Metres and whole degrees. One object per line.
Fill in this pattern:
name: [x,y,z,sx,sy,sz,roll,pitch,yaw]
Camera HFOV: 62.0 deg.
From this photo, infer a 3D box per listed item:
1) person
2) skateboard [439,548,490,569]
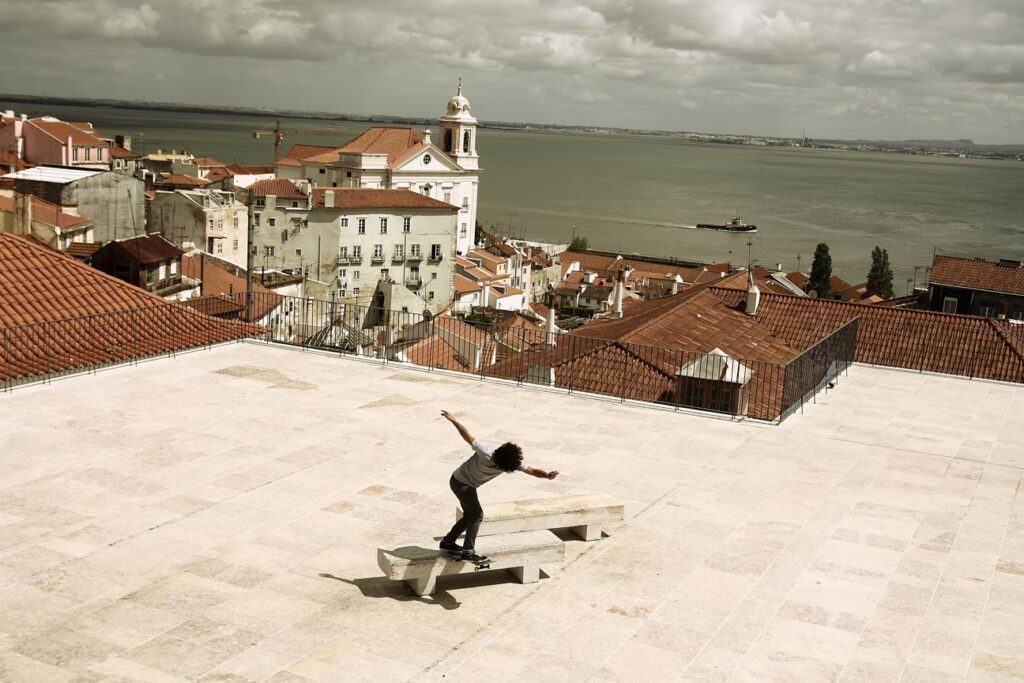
person: [-0.310,1.712,9.487,0.969,1.464,0.476,11,12,33]
skateboard: [-0.544,2.452,9.646,0.612,0.232,0.190,1,30,-2]
